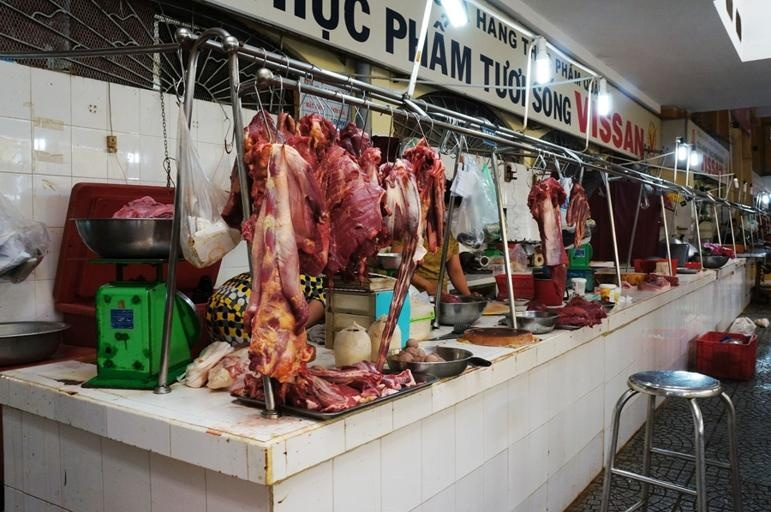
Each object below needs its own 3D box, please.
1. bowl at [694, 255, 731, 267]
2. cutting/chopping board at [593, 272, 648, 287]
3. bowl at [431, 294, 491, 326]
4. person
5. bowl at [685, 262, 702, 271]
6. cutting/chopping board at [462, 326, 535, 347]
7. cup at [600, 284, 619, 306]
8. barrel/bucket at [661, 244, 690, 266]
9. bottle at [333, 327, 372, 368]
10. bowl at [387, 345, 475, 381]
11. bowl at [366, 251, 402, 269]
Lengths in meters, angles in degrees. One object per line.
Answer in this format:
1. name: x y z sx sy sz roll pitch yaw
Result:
1. bowl: 5.243 0.093 8.737 0.975 0.232 0.260 -4 2 -37
2. cutting/chopping board: 2.795 0.266 6.544 0.435 0.150 0.303 0 -2 24
3. bowl: 0.614 0.426 4.243 0.387 0.246 0.243 -4 2 -37
4. person: 0.558 -0.128 5.304 0.810 1.459 0.909 1 3 30
5. bowl: 4.562 0.153 8.041 0.173 0.127 0.177 0 3 0
6. cutting/chopping board: 0.790 0.569 3.841 0.504 0.097 0.304 -2 2 15
7. cup: 2.127 0.356 5.188 0.216 0.210 0.135 3 -6 -43
8. barrel/bucket: 4.189 -0.019 7.866 0.292 0.335 0.335 2 -5 -11
9. bottle: -0.194 0.515 3.110 0.203 0.231 0.211 0 -4 5
10. bowl: 0.253 0.627 3.157 0.260 0.064 0.240 -1 3 0
11. bowl: -0.013 0.042 4.097 0.207 0.134 0.442 -2 2 -4
